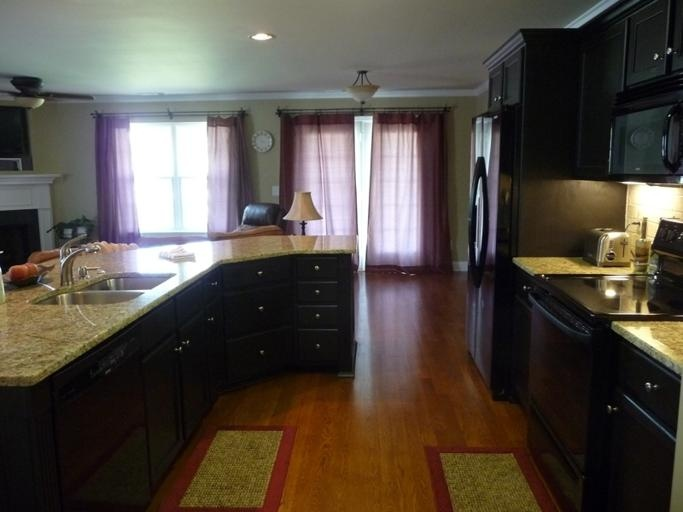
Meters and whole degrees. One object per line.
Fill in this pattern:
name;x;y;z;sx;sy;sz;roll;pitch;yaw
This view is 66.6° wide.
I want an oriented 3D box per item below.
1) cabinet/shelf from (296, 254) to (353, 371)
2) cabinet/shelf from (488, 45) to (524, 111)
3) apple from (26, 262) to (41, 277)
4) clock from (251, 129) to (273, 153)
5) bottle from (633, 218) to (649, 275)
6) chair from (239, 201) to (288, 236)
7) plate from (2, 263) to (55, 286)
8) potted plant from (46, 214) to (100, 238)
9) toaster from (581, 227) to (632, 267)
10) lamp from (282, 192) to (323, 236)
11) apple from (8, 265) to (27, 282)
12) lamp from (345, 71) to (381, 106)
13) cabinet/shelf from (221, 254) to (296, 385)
cabinet/shelf;-0.128;0.447;3.912;0.427;0.910;0.122;-2;12;-6
cabinet/shelf;1.142;-1.224;3.587;0.202;0.379;0.591;0;10;2
apple;-1.737;0.074;2.936;0.077;0.080;0.082;-6;3;18
clock;-1.154;-1.678;7.614;0.293;0.306;0.290;-9;26;-38
bottle;1.816;-0.081;3.133;0.083;0.300;0.277;6;14;29
chair;-1.046;-0.539;6.718;0.554;0.652;0.477;1;-3;7
plate;-1.756;0.102;2.894;0.196;0.074;0.163;0;8;0
potted plant;-3.956;-0.426;7.708;0.608;0.342;0.461;-1;12;-1
toaster;1.687;-0.068;3.315;0.189;0.242;0.320;-1;12;1
lamp;-0.420;-0.415;5.742;0.397;0.604;0.394;0;16;2
apple;-1.794;0.085;2.890;0.085;0.087;0.086;-2;15;-2
lamp;0.228;-1.826;5.632;0.359;0.345;0.367;0;9;13
cabinet/shelf;-0.540;0.563;3.928;0.594;0.976;0.523;-7;-24;-1
